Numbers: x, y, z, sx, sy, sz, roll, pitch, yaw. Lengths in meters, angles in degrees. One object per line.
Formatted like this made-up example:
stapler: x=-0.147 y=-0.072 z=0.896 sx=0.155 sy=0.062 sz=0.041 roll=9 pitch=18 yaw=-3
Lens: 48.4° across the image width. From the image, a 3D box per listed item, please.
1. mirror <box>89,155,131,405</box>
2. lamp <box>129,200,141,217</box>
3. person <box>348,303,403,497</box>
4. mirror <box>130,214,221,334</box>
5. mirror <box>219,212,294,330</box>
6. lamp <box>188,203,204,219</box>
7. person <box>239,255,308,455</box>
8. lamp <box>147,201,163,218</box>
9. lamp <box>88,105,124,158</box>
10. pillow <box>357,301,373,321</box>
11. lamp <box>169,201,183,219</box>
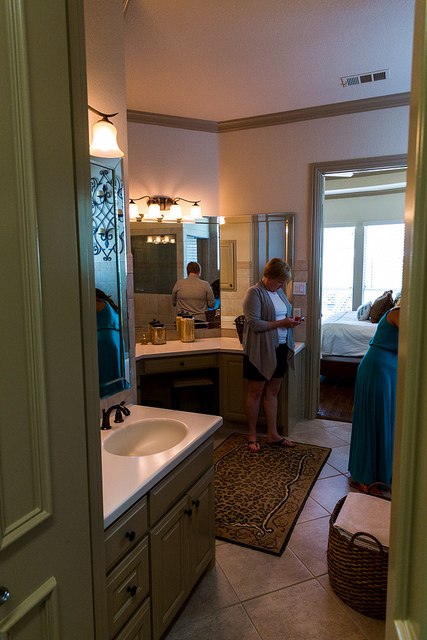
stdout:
mirror: x=-0.469 y=-0.184 z=1.951 sx=0.014 sy=0.853 sz=0.333 roll=-5 pitch=7 yaw=-44
lamp: x=-0.635 y=-0.905 z=3.795 sx=0.062 sy=0.141 sz=0.233 roll=0 pitch=7 yaw=6
person: x=0.948 y=0.483 z=2.820 sx=0.251 sy=1.134 sz=0.221 roll=2 pitch=6 yaw=18
mirror: x=-0.347 y=-0.416 z=3.968 sx=0.819 sy=1.168 sz=0.077 roll=-4 pitch=6 yaw=-36
mirror: x=0.374 y=-0.460 z=3.930 sx=0.781 sy=1.359 sz=0.061 roll=2 pitch=5 yaw=20
lamp: x=-0.154 y=-0.939 z=4.017 sx=0.094 sy=0.130 sz=0.111 roll=3 pitch=21 yaw=4
person: x=0.437 y=0.248 z=3.664 sx=0.472 sy=1.443 sz=0.712 roll=0 pitch=6 yaw=6
lamp: x=-0.474 y=-0.902 z=3.875 sx=0.102 sy=0.141 sz=0.116 roll=7 pitch=27 yaw=8
lamp: x=-0.427 y=-0.747 z=1.873 sx=0.118 sy=0.199 sz=0.212 roll=-2 pitch=6 yaw=-15
pillow: x=2.045 y=-0.122 z=6.435 sx=0.080 sy=0.266 sz=0.233 roll=7 pitch=2 yaw=10
lamp: x=-0.317 y=-0.921 z=3.942 sx=0.100 sy=0.138 sz=0.108 roll=2 pitch=7 yaw=31
